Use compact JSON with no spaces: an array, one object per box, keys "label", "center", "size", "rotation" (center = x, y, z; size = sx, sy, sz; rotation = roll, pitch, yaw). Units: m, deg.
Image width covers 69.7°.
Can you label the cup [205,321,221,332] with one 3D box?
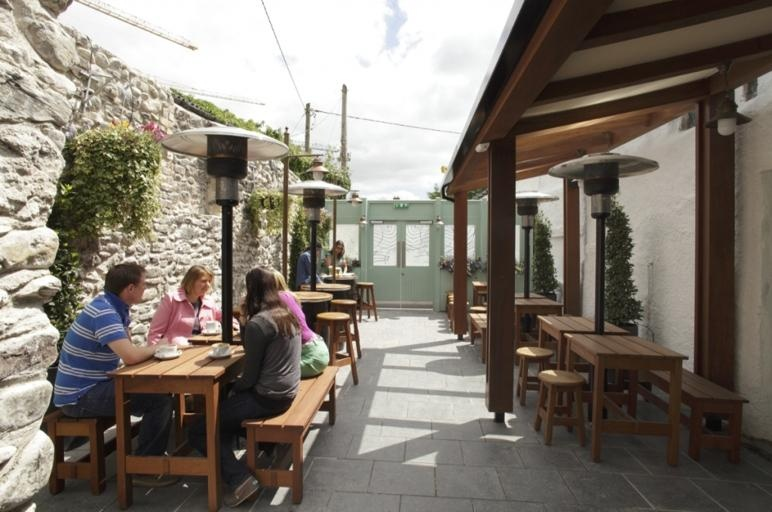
[{"label":"cup","center":[-1.996,0.795,6.406],"size":[0.151,0.098,0.113],"rotation":[-3,4,-16]}]

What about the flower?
[{"label":"flower","center":[-3.285,-1.444,6.751],"size":[1.046,0.480,0.823],"rotation":[-6,10,-11]}]

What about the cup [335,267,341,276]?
[{"label":"cup","center":[-1.035,0.312,12.184],"size":[0.146,0.181,0.264],"rotation":[1,-1,-5]}]

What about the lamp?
[{"label":"lamp","center":[3.778,-1.728,6.104],"size":[0.415,0.777,0.987],"rotation":[8,14,28]}]

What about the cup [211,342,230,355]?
[{"label":"cup","center":[-1.649,0.912,5.533],"size":[0.126,0.075,0.123],"rotation":[2,-8,0]}]

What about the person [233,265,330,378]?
[{"label":"person","center":[-1.056,0.751,6.042],"size":[1.107,1.173,1.088],"rotation":[0,-2,-1]}]

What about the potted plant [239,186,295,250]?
[{"label":"potted plant","center":[-2.484,-0.896,11.289],"size":[1.079,0.387,0.788],"rotation":[-13,-9,-16]}]
